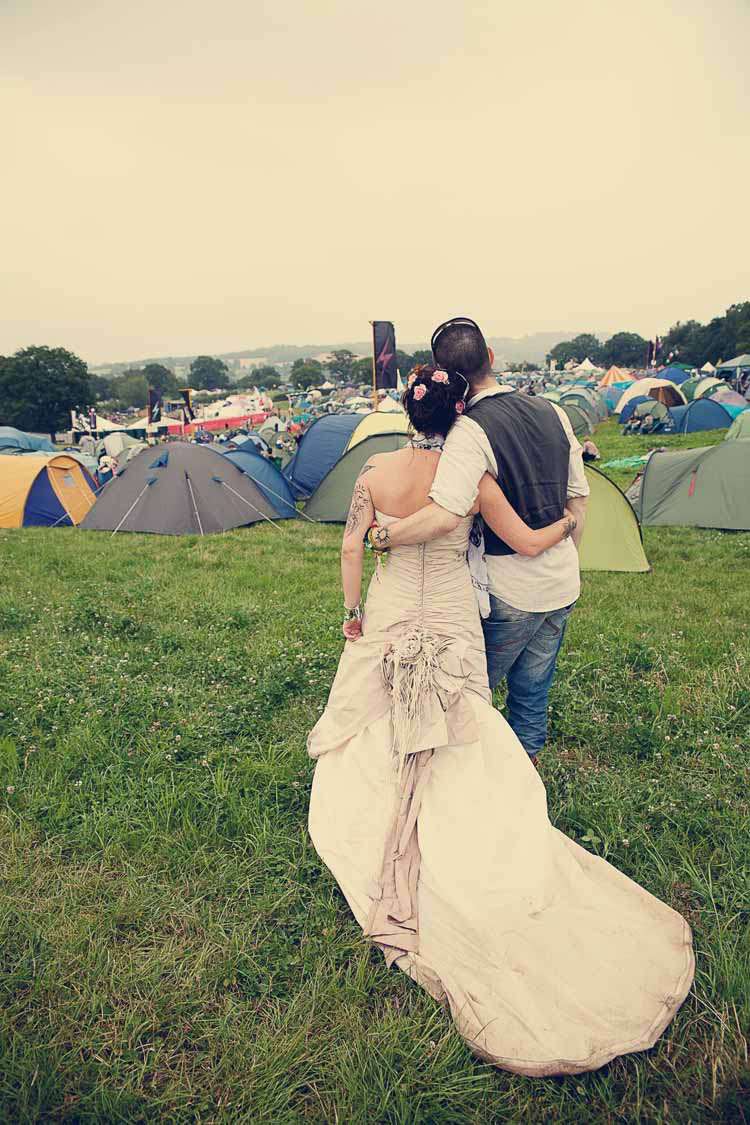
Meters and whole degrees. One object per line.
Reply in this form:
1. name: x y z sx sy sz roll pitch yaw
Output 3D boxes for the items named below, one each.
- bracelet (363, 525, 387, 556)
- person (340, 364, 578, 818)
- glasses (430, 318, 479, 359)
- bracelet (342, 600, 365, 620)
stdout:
1. bracelet: -0.014 -0.091 3.506 0.086 0.119 0.122 1 -2 -7
2. person: 0.303 -0.217 3.541 0.943 1.158 0.415 -2 7 0
3. glasses: 0.304 -0.932 3.465 0.218 0.115 0.086 2 8 27
4. bracelet: -0.112 0.221 3.796 0.104 0.104 0.137 -2 -2 -1
